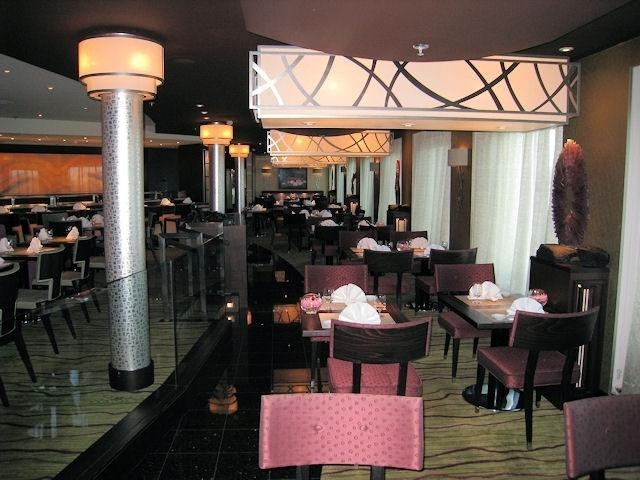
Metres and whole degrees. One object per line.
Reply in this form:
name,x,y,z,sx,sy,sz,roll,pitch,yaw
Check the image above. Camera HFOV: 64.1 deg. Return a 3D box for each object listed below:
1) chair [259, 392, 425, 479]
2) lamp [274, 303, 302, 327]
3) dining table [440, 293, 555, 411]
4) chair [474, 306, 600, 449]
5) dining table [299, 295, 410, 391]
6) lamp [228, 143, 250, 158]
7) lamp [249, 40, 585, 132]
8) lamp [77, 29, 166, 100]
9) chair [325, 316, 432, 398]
chair,0.099,0.994,2.733,0.879,0.380,0.208,2,-13,-17
lamp,-0.488,1.042,7.151,0.324,0.195,0.166,2,21,2
dining table,1.731,0.920,4.892,1.075,0.897,1.023,-1,15,-3
chair,1.767,1.030,4.323,0.712,1.110,0.740,-3,12,-14
dining table,0.234,0.990,4.702,1.018,0.680,0.900,-3,24,-9
lamp,-2.883,-3.125,17.829,0.615,0.390,0.589,-3,6,-35
lamp,0.963,-1.612,5.312,3.355,0.741,0.294,0,12,-2
lamp,-1.843,-1.632,4.863,0.697,0.385,0.680,-7,10,-43
chair,0.443,0.886,3.962,0.755,0.681,0.520,1,12,1
